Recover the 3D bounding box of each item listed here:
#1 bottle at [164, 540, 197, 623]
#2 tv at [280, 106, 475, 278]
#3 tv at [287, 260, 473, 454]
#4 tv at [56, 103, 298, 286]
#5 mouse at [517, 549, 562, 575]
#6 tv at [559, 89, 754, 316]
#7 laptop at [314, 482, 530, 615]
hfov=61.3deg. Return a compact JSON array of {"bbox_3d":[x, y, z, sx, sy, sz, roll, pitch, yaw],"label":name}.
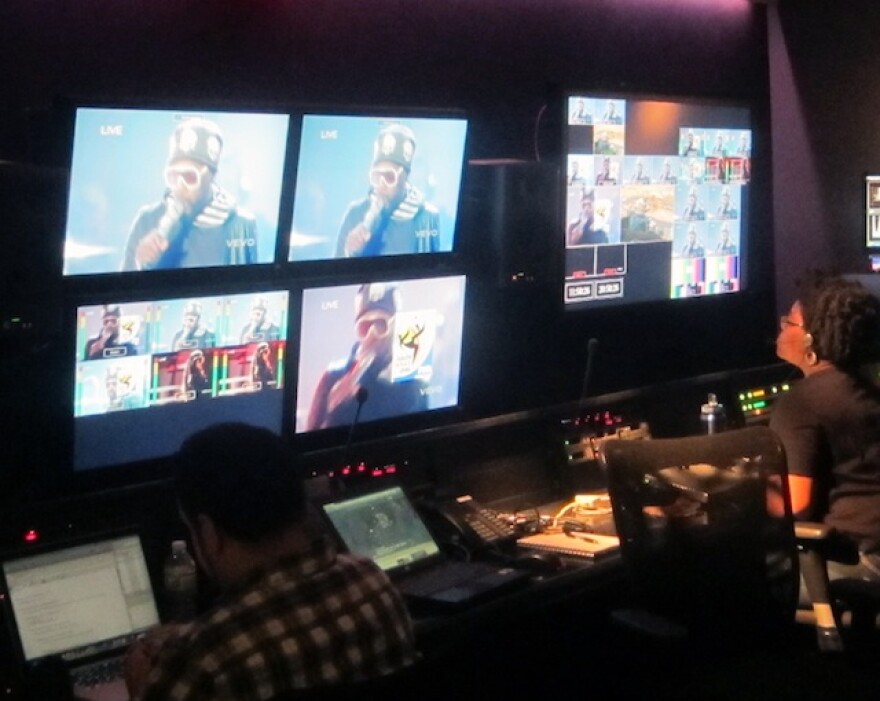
[{"bbox_3d":[-0.745,0.657,2.142,0.085,0.210,0.069,-3,10,-36],"label":"bottle"},{"bbox_3d":[-0.257,-0.600,2.771,0.700,0.510,0.024,-7,27,-37],"label":"tv"},{"bbox_3d":[-0.243,0.010,2.787,0.696,0.507,0.010,-11,17,-38],"label":"tv"},{"bbox_3d":[-0.867,-0.515,2.387,0.621,0.430,0.010,-8,20,-38],"label":"tv"},{"bbox_3d":[0.298,0.640,2.251,0.085,0.028,0.064,5,2,23],"label":"mouse"},{"bbox_3d":[1.187,-0.799,3.929,1.407,1.065,0.054,-8,12,-31],"label":"tv"},{"bbox_3d":[-0.039,0.571,2.187,0.549,0.204,0.382,0,1,45],"label":"laptop"}]
